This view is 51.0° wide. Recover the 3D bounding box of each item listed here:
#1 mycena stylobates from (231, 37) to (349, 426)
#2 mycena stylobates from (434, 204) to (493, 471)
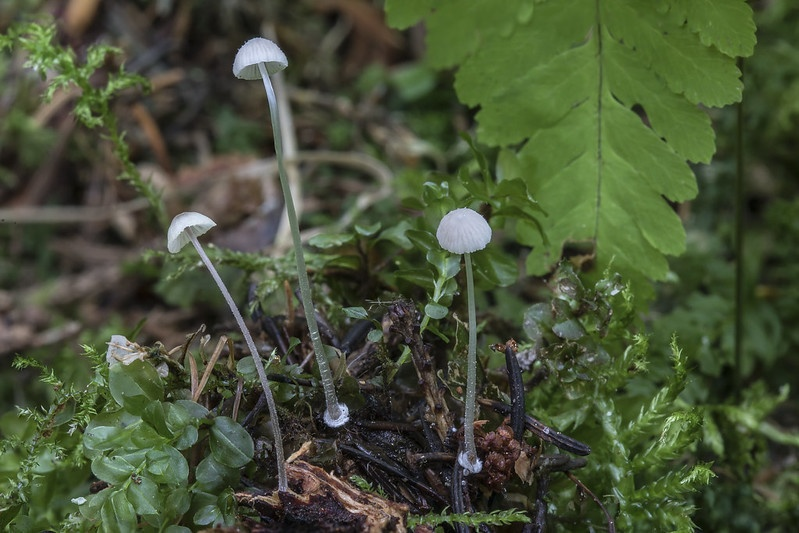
[{"bbox_3d":[-0.306,-0.143,2.316,0.127,0.954,0.147,-8,10,8],"label":"mycena stylobates"},{"bbox_3d":[0.175,0.239,2.303,0.161,0.731,0.142,-2,6,-20],"label":"mycena stylobates"}]
